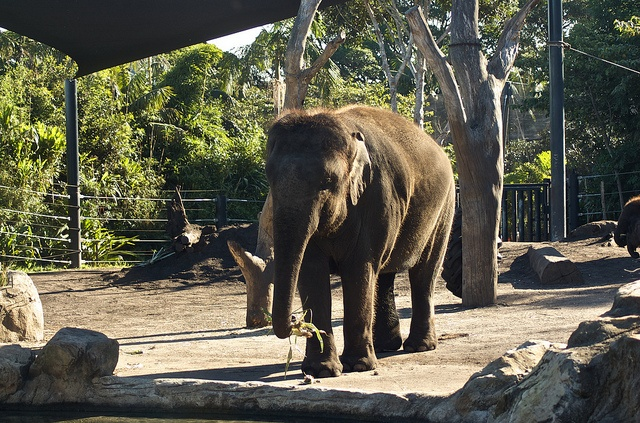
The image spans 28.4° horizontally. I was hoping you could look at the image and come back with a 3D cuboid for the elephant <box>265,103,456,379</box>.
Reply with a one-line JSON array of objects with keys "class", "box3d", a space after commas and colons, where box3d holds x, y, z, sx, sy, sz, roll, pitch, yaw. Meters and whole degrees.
[{"class": "elephant", "box3d": [0.619, 0.475, 23.243, 2.594, 4.678, 5.344, 3, 4, 31]}]
